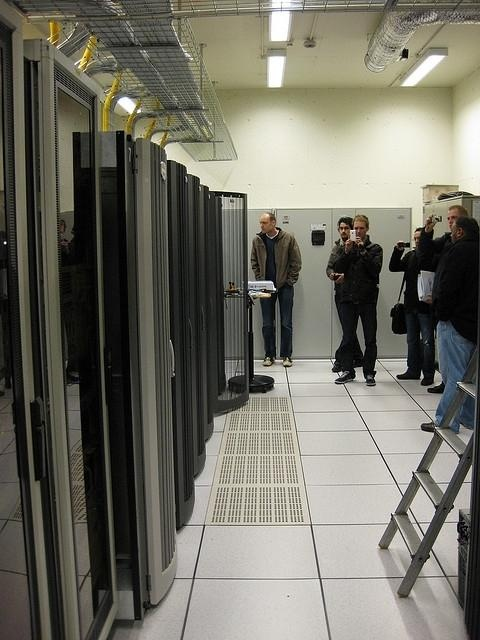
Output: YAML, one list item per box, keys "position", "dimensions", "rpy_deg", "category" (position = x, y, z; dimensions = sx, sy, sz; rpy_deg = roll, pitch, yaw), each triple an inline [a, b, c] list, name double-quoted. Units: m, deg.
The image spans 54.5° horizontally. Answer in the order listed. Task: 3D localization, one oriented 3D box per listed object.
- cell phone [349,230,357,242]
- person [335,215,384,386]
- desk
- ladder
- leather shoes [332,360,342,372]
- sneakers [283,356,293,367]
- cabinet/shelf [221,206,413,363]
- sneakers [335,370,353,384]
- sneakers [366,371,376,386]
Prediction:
- position: [1.248, -0.758, 5.154]
  dimensions: [0.061, 0.114, 0.072]
  rpy_deg: [0, 5, 14]
  category: "cell phone"
- position: [1.324, -0.128, 5.228]
  dimensions: [0.497, 1.712, 0.478]
  rpy_deg: [1, 5, 17]
  category: "person"
- position: [0.147, 0.269, 4.947]
  dimensions: [0.426, 1.015, 1.760]
  rpy_deg: [-1, 5, 4]
  category: "desk"
- position: [0.875, 0.580, 2.109]
  dimensions: [0.461, 0.953, 0.985]
  rpy_deg: [1, 5, 18]
  category: "ladder"
- position: [1.189, 0.627, 5.716]
  dimensions: [0.104, 0.165, 0.343]
  rpy_deg: [-1, -5, 8]
  category: "leather shoes"
- position: [0.610, 0.602, 6.022]
  dimensions: [0.076, 0.111, 0.236]
  rpy_deg: [0, -7, 5]
  category: "sneakers"
- position: [0.951, -0.346, 5.489]
  dimensions: [1.492, 1.615, 0.538]
  rpy_deg: [0, 0, 0]
  category: "cabinet/shelf"
- position: [1.188, 0.684, 5.248]
  dimensions: [0.093, 0.135, 0.279]
  rpy_deg: [-1, -2, 45]
  category: "sneakers"
- position: [1.429, 0.681, 5.109]
  dimensions: [0.113, 0.111, 0.257]
  rpy_deg: [0, 5, 15]
  category: "sneakers"
